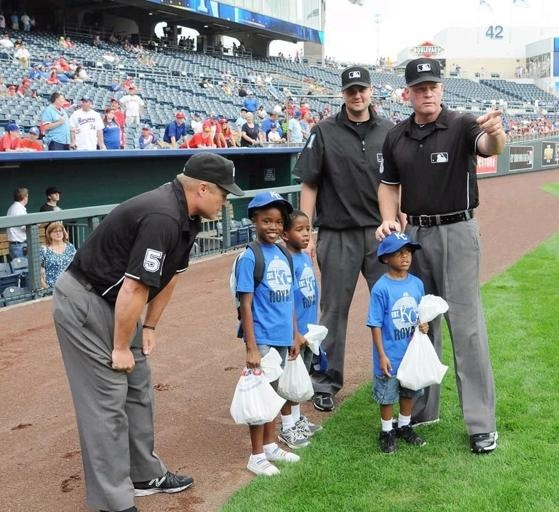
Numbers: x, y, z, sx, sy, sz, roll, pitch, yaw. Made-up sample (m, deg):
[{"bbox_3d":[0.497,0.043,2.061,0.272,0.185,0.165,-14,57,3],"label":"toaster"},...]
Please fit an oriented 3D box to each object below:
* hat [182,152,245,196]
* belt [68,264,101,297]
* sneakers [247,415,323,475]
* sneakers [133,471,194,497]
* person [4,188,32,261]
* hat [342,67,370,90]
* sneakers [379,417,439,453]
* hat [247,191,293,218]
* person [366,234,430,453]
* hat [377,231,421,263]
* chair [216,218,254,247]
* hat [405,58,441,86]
[{"bbox_3d":[-0.317,-0.390,2.993,0.269,0.126,0.174,15,18,-20],"label":"hat"},{"bbox_3d":[-0.918,0.132,2.961,0.047,0.161,0.123,-46,44,-8],"label":"belt"},{"bbox_3d":[0.044,1.118,3.597,0.511,0.206,0.154,-19,31,-33],"label":"sneakers"},{"bbox_3d":[-0.623,1.197,3.275,0.321,0.136,0.112,-2,3,-11],"label":"sneakers"},{"bbox_3d":[-3.571,-0.441,8.289,0.303,0.895,1.762,-7,10,-21],"label":"person"},{"bbox_3d":[0.516,-1.185,4.071,0.150,0.102,0.196,-1,14,14],"label":"hat"},{"bbox_3d":[0.764,1.071,3.680,0.353,0.144,0.121,-2,16,-25],"label":"sneakers"},{"bbox_3d":[-0.055,-0.295,3.513,0.261,0.148,0.266,-2,9,0],"label":"hat"},{"bbox_3d":[0.699,0.503,3.643,0.325,1.264,0.483,0,11,13],"label":"person"},{"bbox_3d":[0.715,-0.039,3.672,0.212,0.105,0.159,-19,0,40],"label":"hat"},{"bbox_3d":[-0.819,-0.491,11.360,0.573,0.344,0.977,3,11,12],"label":"chair"},{"bbox_3d":[0.859,-1.095,3.630,0.210,0.174,0.231,0,10,11],"label":"hat"}]
